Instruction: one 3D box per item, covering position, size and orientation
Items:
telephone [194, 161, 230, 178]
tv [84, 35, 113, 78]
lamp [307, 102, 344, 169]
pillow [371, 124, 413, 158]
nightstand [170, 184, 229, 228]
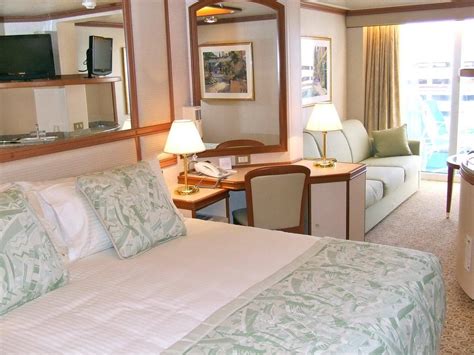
[{"bbox_3d":[-0.251,-0.087,3.319,0.289,0.076,0.166,19,31,25],"label":"telephone"},{"bbox_3d":[-1.133,-0.998,2.708,0.050,0.350,0.374,7,11,18],"label":"tv"},{"bbox_3d":[0.939,-0.484,3.670,0.350,0.666,0.394,10,19,42],"label":"lamp"},{"bbox_3d":[2.609,-0.618,5.633,0.616,0.506,0.269,-8,17,6],"label":"pillow"},{"bbox_3d":[-0.354,0.253,3.109,0.360,0.414,0.457,12,19,35],"label":"nightstand"}]
